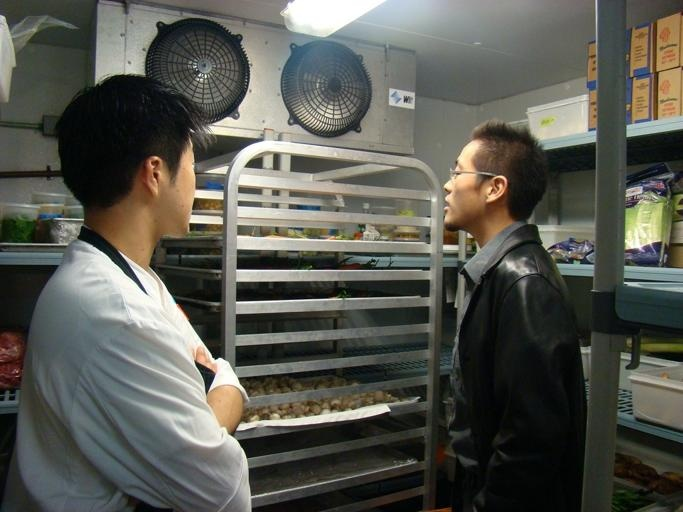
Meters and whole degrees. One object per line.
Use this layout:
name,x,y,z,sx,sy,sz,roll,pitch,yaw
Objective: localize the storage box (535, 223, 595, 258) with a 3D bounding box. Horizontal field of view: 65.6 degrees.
storage box,1.025,-0.090,2.444,0.190,0.117,0.189,-2,4,-24
